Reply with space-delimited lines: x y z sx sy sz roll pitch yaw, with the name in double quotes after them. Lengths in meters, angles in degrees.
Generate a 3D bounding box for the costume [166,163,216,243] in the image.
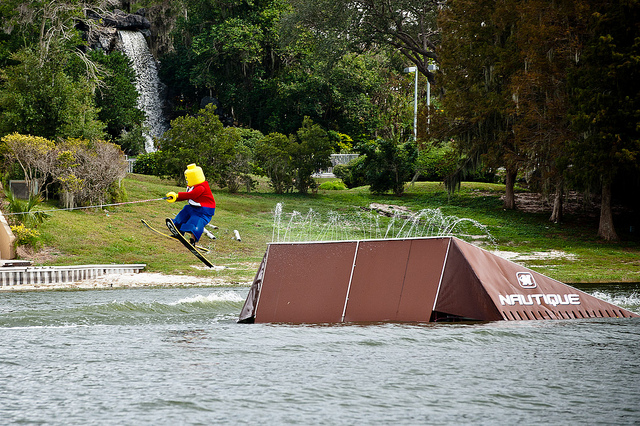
-6.554 -0.393 54.040 2.015 3.829 2.514 0 0 37 "costume"
